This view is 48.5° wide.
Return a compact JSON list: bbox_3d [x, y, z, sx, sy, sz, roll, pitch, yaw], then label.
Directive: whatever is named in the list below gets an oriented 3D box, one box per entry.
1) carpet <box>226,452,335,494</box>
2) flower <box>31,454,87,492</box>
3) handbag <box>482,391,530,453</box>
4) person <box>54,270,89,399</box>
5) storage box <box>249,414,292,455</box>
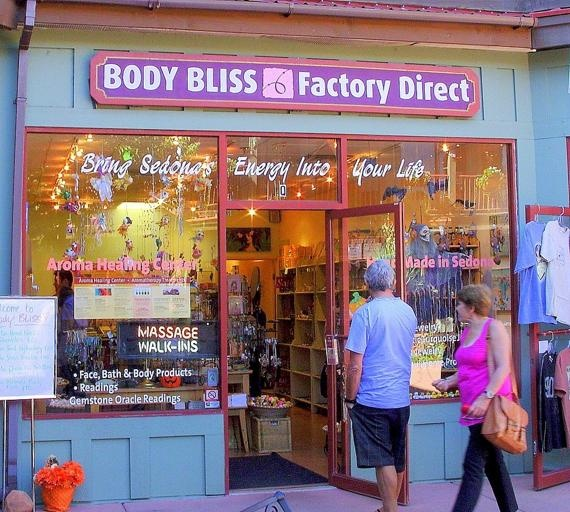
[{"bbox_3d":[-0.157,2.063,6.105,0.907,0.067,1.336,-1,-5,-13],"label":"carpet"},{"bbox_3d":[-1.724,1.627,4.830,0.239,0.164,0.247,6,-8,-28],"label":"flower"},{"bbox_3d":[1.303,0.996,3.750,0.264,0.350,0.189,-3,-5,16],"label":"handbag"},{"bbox_3d":[-1.748,0.690,5.275,0.089,1.122,0.218,7,0,40],"label":"person"},{"bbox_3d":[-0.153,1.975,7.064,0.357,0.322,0.385,1,-7,-9],"label":"storage box"}]
